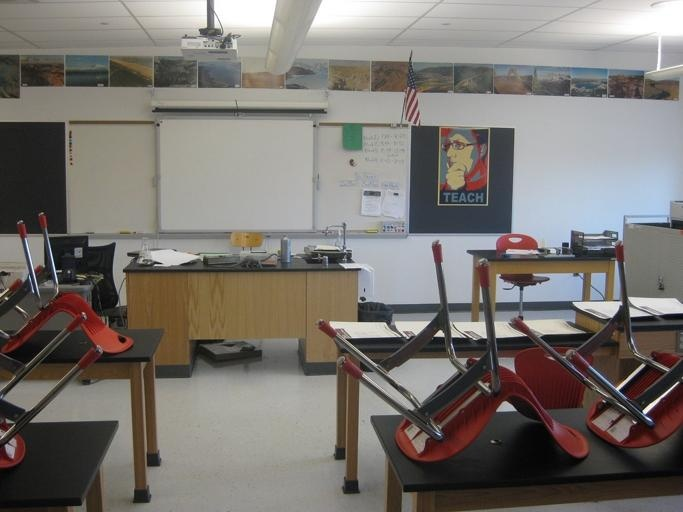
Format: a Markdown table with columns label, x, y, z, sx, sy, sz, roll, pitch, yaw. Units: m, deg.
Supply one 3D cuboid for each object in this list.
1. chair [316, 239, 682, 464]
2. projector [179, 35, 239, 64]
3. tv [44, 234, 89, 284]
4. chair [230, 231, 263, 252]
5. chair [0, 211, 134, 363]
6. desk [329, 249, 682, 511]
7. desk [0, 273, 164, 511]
| label | x | y | z | sx | sy | sz | roll | pitch | yaw |
| --- | --- | --- | --- | --- | --- | --- | --- | --- | --- |
| chair | 0.631 | 0.352 | 2.449 | 1.478 | 0.801 | 0.705 | -1 | 6 | -6 |
| projector | -1.071 | -1.680 | 4.743 | 0.416 | 0.137 | 0.241 | -1 | 0 | -2 |
| tv | -2.069 | 0.023 | 4.326 | 0.402 | 0.400 | 0.131 | 1 | 9 | -9 |
| chair | -0.989 | -0.160 | 5.869 | 0.283 | 0.351 | 0.245 | 1 | 4 | -2 |
| chair | -1.356 | 0.148 | 2.776 | 0.614 | 0.768 | 0.641 | -4 | 14 | -20 |
| desk | 0.562 | 0.469 | 2.490 | 1.364 | 0.884 | 0.803 | -3 | 4 | -8 |
| desk | -1.271 | 0.784 | 3.281 | 0.882 | 0.817 | 0.867 | 0 | 7 | -5 |
